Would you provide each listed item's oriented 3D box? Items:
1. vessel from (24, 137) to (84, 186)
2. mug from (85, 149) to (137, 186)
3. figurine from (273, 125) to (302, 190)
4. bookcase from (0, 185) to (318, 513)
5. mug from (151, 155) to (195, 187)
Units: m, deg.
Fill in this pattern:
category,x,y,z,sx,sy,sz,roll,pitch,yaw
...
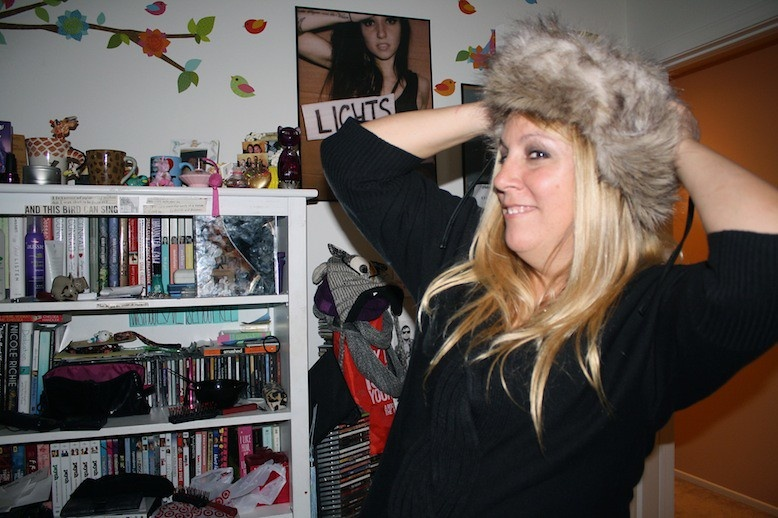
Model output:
category,x,y,z,sx,sy,sz,roll,pitch,yaw
vessel,-1.415,-0.419,2.936,0.129,0.186,0.264,-3,0,29
mug,-1.203,-0.383,2.961,0.223,0.146,0.139,-3,4,-24
figurine,-0.456,-0.451,3.082,0.111,0.280,0.106,-3,0,-10
bookcase,-1.023,0.392,2.925,1.508,1.471,0.540,0,-3,-17
mug,-0.963,-0.374,3.022,0.187,0.119,0.109,5,-6,-29
